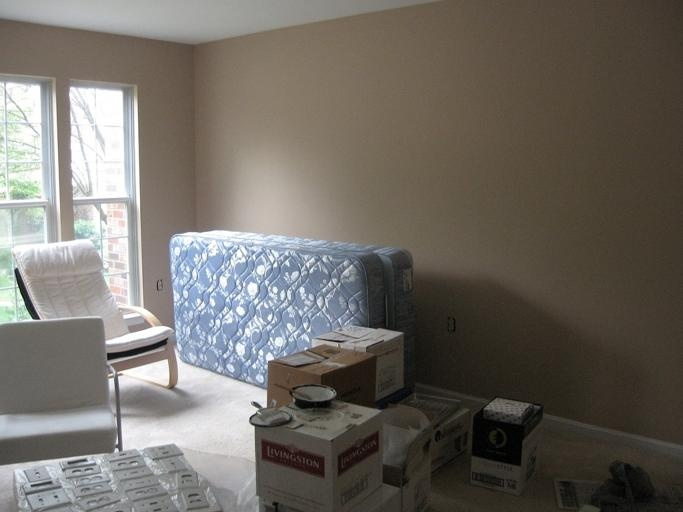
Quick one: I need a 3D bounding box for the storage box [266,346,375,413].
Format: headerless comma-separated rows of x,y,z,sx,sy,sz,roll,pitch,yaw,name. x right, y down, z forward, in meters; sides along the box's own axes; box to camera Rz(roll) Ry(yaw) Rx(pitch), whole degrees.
-0.075,0.657,3.358,0.411,0.299,0.413,2,4,38,storage box

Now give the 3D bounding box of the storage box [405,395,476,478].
0.616,1.109,3.543,0.387,0.311,0.390,1,4,35,storage box

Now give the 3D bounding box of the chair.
-2.159,0.432,4.702,1.553,1.443,0.909,10,10,37,chair

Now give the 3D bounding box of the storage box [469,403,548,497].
0.981,1.123,3.324,0.385,0.494,0.305,4,13,21,storage box
